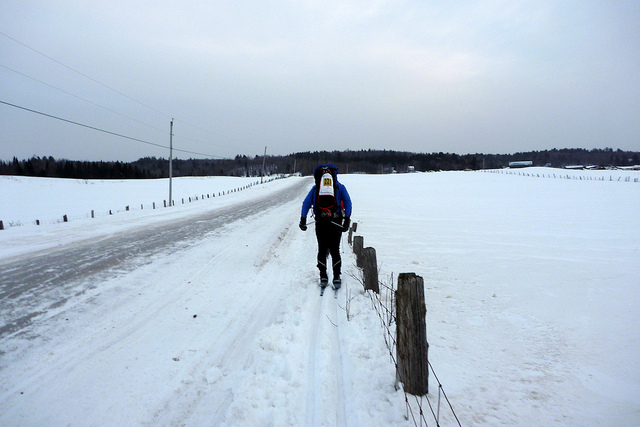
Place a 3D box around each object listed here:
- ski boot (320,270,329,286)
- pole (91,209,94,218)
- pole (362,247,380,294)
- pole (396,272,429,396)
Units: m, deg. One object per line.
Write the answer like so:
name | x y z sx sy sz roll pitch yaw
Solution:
ski boot | 0.094 1.470 9.320 0.159 0.342 0.211 -1 7 2
pole | -11.492 0.014 20.443 0.236 0.453 0.042 13 17 34
pole | 1.170 1.268 9.147 0.417 1.093 0.372 -2 6 -8
pole | 1.511 1.968 6.632 0.520 2.057 0.175 1 6 12
